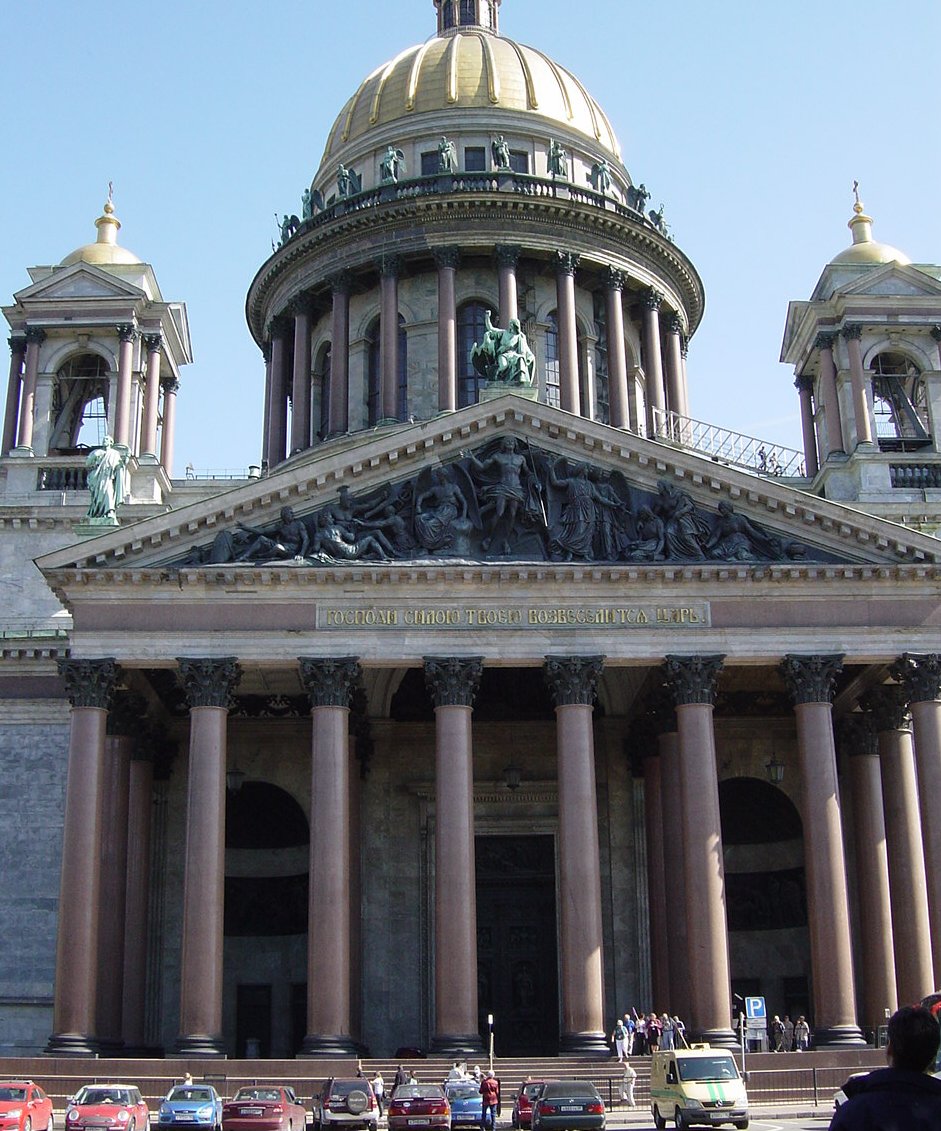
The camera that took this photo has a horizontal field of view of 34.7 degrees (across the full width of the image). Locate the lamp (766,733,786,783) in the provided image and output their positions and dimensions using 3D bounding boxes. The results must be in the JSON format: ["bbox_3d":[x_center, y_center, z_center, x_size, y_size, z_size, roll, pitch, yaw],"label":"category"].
[{"bbox_3d":[8.990,5.724,44.458,0.618,1.439,0.171,-7,-20,9],"label":"lamp"}]

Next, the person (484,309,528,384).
[{"bbox_3d":[1.022,-5.679,40.209,1.113,2.692,1.480,-4,-20,0],"label":"person"}]
